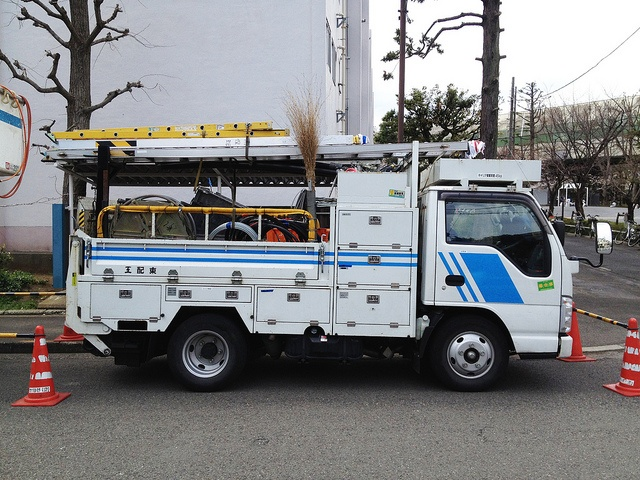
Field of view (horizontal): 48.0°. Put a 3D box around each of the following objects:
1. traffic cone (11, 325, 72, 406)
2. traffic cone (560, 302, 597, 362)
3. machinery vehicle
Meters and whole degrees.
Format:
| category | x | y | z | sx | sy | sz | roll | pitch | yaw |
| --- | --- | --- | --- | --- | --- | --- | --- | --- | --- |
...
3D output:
| category | x | y | z | sx | sy | sz | roll | pitch | yaw |
| --- | --- | --- | --- | --- | --- | --- | --- | --- | --- |
| traffic cone | -4.183 | 1.863 | 10.751 | 0.864 | 1.068 | 0.959 | -3 | 0 | 26 |
| traffic cone | 4.492 | 1.625 | 12.474 | 0.687 | 1.008 | 0.958 | 11 | 12 | 26 |
| machinery vehicle | -0.022 | 0.598 | 12.300 | 8.235 | 4.671 | 3.146 | 2 | -13 | -2 |
